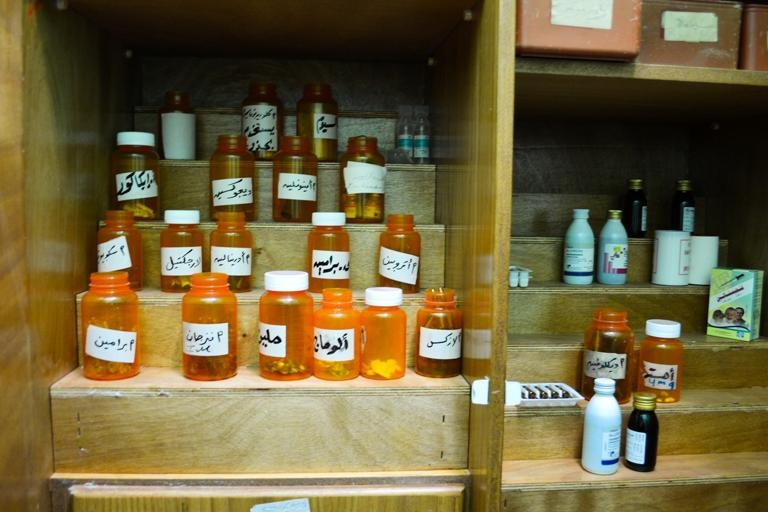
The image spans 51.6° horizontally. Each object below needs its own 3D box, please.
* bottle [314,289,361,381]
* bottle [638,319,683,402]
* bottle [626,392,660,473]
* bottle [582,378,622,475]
[{"bbox_3d":[-0.149,0.230,2.347,0.133,0.268,0.097,2,4,19],"label":"bottle"},{"bbox_3d":[0.885,0.330,2.512,0.126,0.253,0.189,3,4,29],"label":"bottle"},{"bbox_3d":[0.798,0.528,2.427,0.096,0.236,0.094,1,3,0],"label":"bottle"},{"bbox_3d":[0.669,0.510,2.400,0.115,0.281,0.078,2,3,11],"label":"bottle"}]
